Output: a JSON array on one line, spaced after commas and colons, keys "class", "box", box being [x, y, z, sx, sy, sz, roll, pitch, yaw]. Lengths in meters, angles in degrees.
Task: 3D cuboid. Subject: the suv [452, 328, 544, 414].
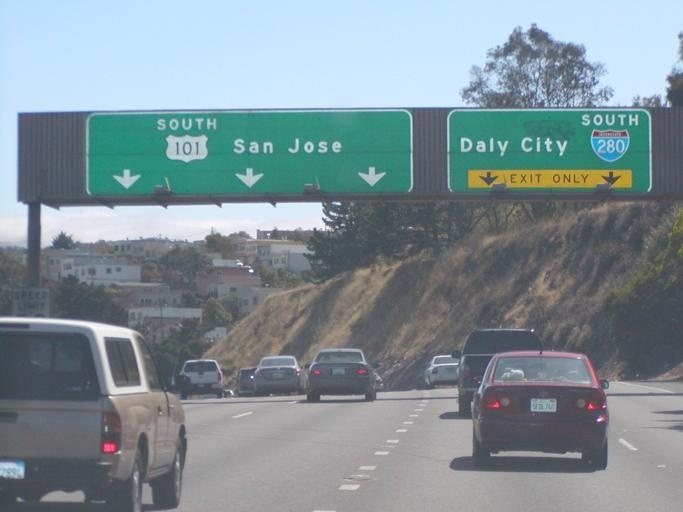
[{"class": "suv", "box": [4.682, 3.496, 43.323, 2.808, 2.746, 5.784, 3, 0, 2]}]

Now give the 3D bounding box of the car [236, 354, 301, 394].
[{"class": "car", "box": [-2.372, 4.757, 55.889, 1.437, 1.238, 3.453, 0, 0, 1]}]

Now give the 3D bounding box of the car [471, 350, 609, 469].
[{"class": "car", "box": [4.438, 3.488, 32.542, 2.912, 2.443, 1.138, 0, 0, 8]}]
